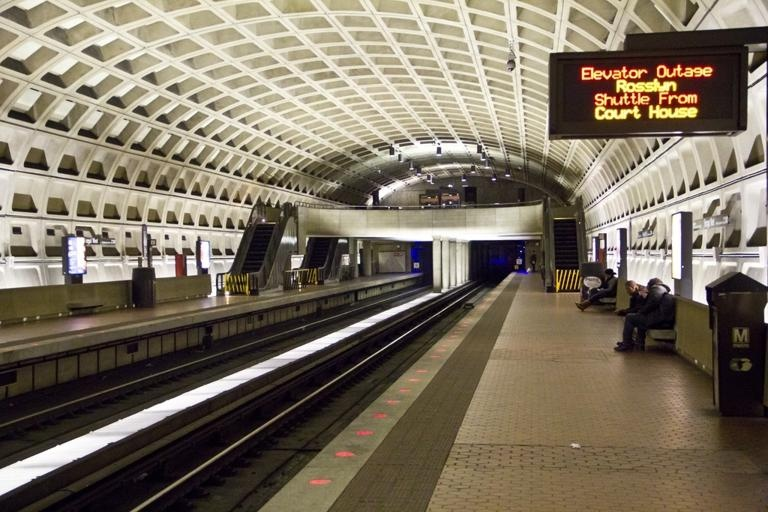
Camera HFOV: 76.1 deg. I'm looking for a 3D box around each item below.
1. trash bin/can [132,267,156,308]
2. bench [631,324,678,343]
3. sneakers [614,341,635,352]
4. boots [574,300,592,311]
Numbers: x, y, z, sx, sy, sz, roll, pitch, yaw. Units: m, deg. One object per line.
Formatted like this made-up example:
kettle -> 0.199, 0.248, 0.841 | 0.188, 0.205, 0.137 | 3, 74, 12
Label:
trash bin/can -> -9.381, 1.228, 19.146 | 0.794, 1.539, 0.598 | 0, -2, -26
bench -> 6.071, 1.765, 11.014 | 0.656, 0.465, 1.023 | -1, -1, 18
sneakers -> 5.509, 2.097, 11.363 | 0.574, 0.216, 0.188 | 2, -2, 1
boots -> 7.807, 1.933, 19.241 | 0.457, 0.395, 0.844 | -1, -1, 28
